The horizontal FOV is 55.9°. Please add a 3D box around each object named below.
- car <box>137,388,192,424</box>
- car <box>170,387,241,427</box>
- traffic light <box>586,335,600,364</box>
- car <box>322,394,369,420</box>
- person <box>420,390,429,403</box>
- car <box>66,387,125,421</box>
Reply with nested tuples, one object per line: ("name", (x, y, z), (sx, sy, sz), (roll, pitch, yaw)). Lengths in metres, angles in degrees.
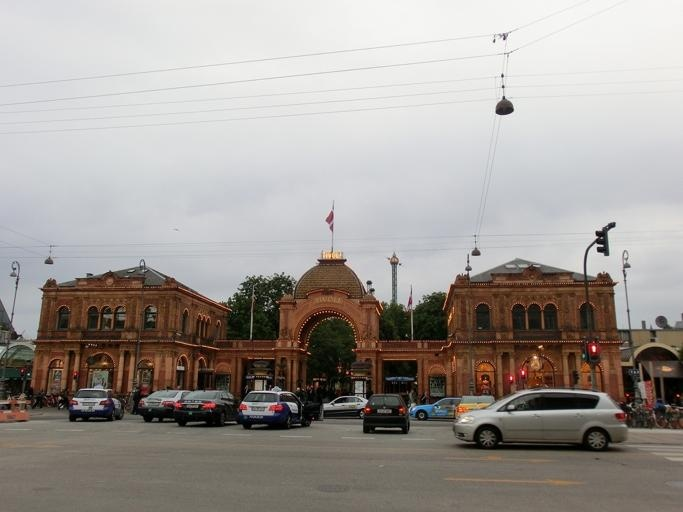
("car", (-9.416, 8.052, 34.526), (1.773, 1.169, 3.730), (-1, -6, 3))
("car", (-6.286, 7.044, 30.244), (1.847, 1.636, 2.869), (-5, -15, 20))
("traffic light", (12.032, 4.426, 30.867), (0.570, 1.160, 0.901), (-3, -15, 15))
("car", (0.212, 10.005, 42.888), (3.891, 1.148, 1.735), (1, -16, 4))
("person", (7.340, 12.432, 57.436), (0.821, 0.705, 1.831), (14, -15, 5))
("car", (-12.876, 7.598, 33.271), (2.069, 1.687, 2.564), (4, -14, -12))
